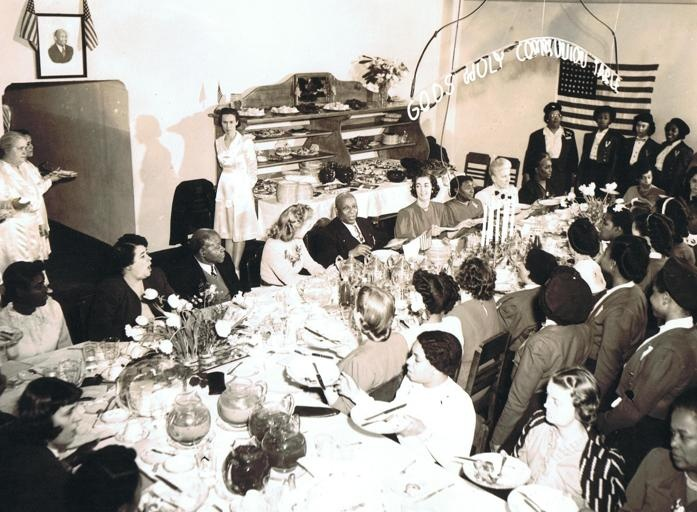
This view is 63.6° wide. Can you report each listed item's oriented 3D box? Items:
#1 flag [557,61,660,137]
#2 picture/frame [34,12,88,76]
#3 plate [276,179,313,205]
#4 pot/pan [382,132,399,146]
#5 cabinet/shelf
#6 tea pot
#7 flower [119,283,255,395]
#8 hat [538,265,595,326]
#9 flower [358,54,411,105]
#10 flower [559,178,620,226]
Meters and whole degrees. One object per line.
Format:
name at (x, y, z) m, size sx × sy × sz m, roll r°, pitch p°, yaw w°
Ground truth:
flag at (3.899, -2.328, 8.294) m, size 1.140 × 0.863 × 0.079 m, roll 18°, pitch 20°, yaw 41°
picture/frame at (-3.085, -2.278, 5.971) m, size 0.635 × 0.831 × 0.062 m, roll -8°, pitch 16°, yaw -35°
plate at (-0.642, -0.771, 6.728) m, size 0.390 × 0.247 × 0.266 m, roll -3°, pitch 23°, yaw -16°
pot/pan at (0.682, -1.857, 8.910) m, size 0.241 × 0.133 × 0.182 m, roll 0°, pitch 27°, yaw -9°
cabinet/shelf at (-0.646, -2.083, 8.181) m, size 2.455 × 1.368 × 0.715 m, roll -11°, pitch 36°, yaw -22°
tea pot at (-0.506, 0.899, 2.983) m, size 0.526 × 0.215 × 0.531 m, roll 3°, pitch 32°, yaw -2°
flower at (-1.045, 0.463, 3.685) m, size 0.661 × 0.377 × 0.679 m, roll 1°, pitch 21°, yaw -5°
hat at (1.497, 0.281, 3.844) m, size 0.344 × 0.368 × 0.124 m, roll 34°, pitch -8°, yaw -4°
flower at (0.543, -2.669, 8.419) m, size 0.633 × 0.676 × 0.649 m, roll -8°, pitch 25°, yaw -12°
flower at (2.741, -0.580, 6.327) m, size 0.444 × 0.338 × 0.440 m, roll -23°, pitch 26°, yaw -11°
